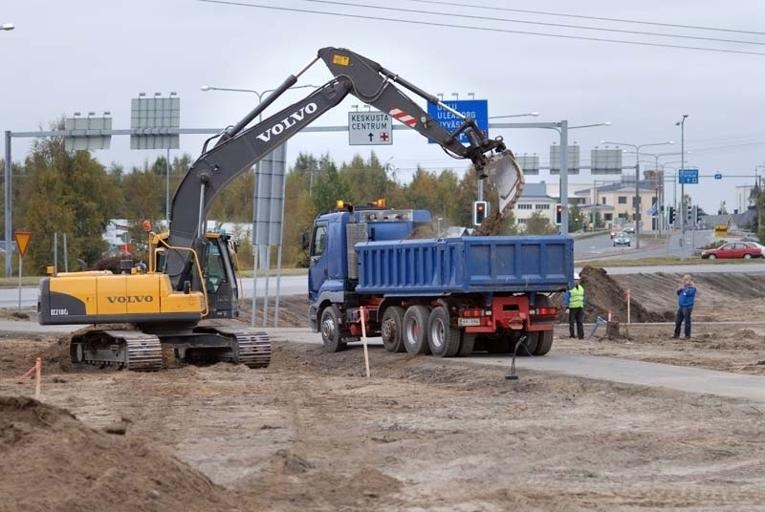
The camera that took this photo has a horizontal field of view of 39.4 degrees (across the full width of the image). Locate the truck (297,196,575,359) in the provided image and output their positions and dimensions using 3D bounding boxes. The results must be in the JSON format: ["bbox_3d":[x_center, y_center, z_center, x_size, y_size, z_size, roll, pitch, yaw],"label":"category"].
[{"bbox_3d":[1.474,0.697,28.746,3.324,3.847,7.588,0,1,-39],"label":"truck"}]

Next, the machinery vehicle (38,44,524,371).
[{"bbox_3d":[-3.321,-1.154,26.671,10.276,8.029,2.439,-3,10,-19],"label":"machinery vehicle"}]
